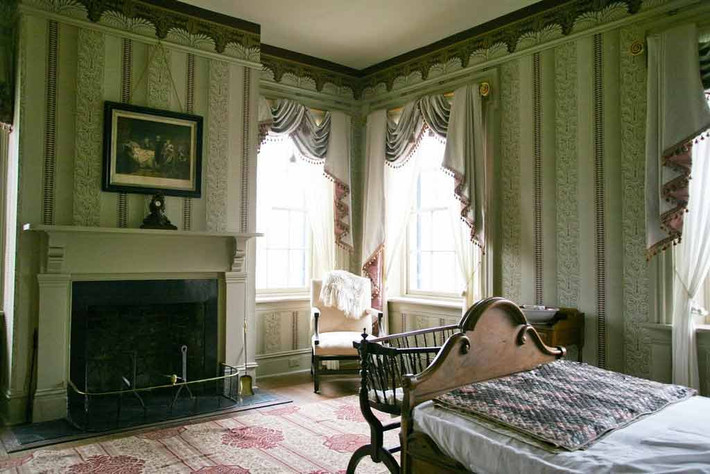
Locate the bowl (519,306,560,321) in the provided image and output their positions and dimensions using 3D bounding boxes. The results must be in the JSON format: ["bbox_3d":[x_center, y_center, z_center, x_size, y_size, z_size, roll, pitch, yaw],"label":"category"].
[{"bbox_3d":[1.693,0.709,4.937,0.243,0.090,0.246,5,-11,1],"label":"bowl"}]

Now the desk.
[{"bbox_3d":[1.961,0.886,5.085,0.499,0.651,0.685,3,-5,-29],"label":"desk"}]
